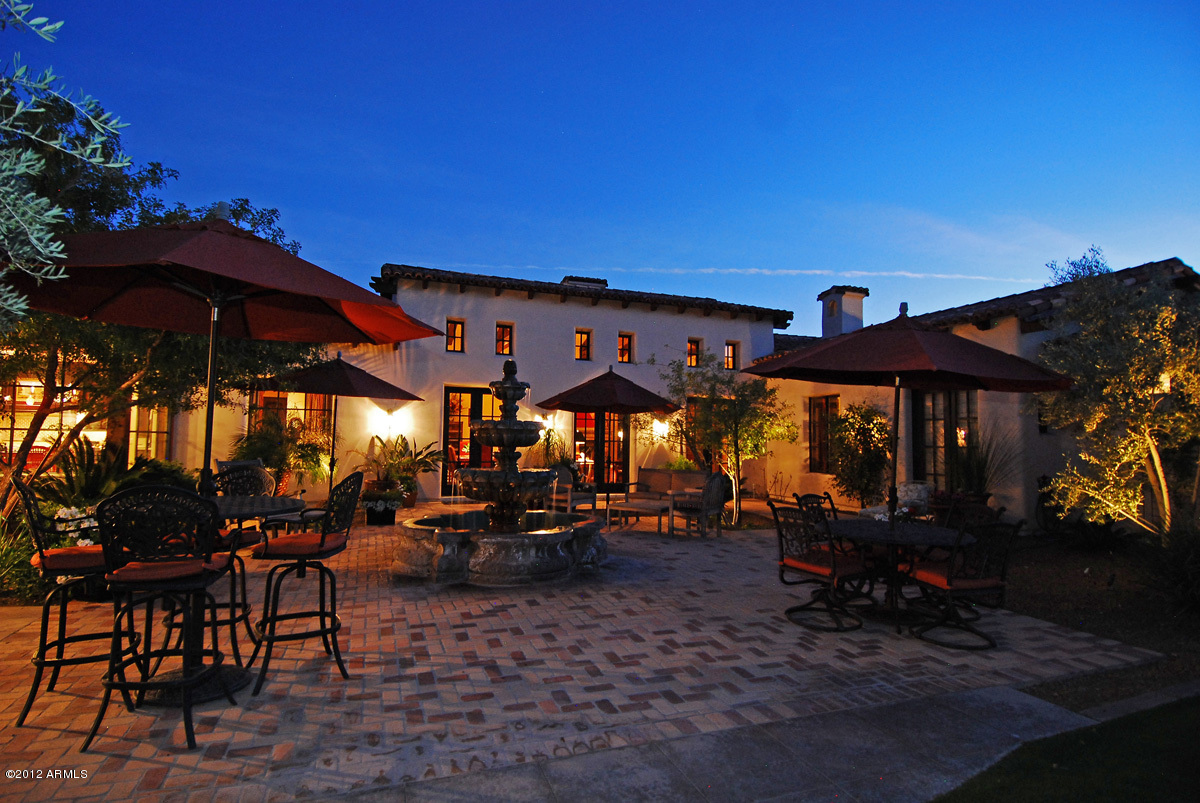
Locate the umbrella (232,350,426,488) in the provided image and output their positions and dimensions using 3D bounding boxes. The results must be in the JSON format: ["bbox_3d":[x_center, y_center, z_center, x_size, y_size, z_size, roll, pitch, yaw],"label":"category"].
[{"bbox_3d":[-5.000,0.245,15.765,3.070,2.233,3.050,7,5,-1],"label":"umbrella"}]

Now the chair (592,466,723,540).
[{"bbox_3d":[1.308,1.768,14.939,1.940,0.990,1.211,-6,-14,31],"label":"chair"}]

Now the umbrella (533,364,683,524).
[{"bbox_3d":[-0.001,0.706,16.504,2.865,2.719,2.862,4,0,40],"label":"umbrella"}]

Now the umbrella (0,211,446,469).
[{"bbox_3d":[-4.313,-0.649,9.403,3.882,2.622,2.323,1,5,0],"label":"umbrella"}]

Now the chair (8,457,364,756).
[{"bbox_3d":[-4.398,2.007,8.792,3.379,2.470,2.126,2,5,13],"label":"chair"}]

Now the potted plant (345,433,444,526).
[{"bbox_3d":[-4.095,1.651,16.761,2.012,1.865,1.654,1,3,-19],"label":"potted plant"}]
